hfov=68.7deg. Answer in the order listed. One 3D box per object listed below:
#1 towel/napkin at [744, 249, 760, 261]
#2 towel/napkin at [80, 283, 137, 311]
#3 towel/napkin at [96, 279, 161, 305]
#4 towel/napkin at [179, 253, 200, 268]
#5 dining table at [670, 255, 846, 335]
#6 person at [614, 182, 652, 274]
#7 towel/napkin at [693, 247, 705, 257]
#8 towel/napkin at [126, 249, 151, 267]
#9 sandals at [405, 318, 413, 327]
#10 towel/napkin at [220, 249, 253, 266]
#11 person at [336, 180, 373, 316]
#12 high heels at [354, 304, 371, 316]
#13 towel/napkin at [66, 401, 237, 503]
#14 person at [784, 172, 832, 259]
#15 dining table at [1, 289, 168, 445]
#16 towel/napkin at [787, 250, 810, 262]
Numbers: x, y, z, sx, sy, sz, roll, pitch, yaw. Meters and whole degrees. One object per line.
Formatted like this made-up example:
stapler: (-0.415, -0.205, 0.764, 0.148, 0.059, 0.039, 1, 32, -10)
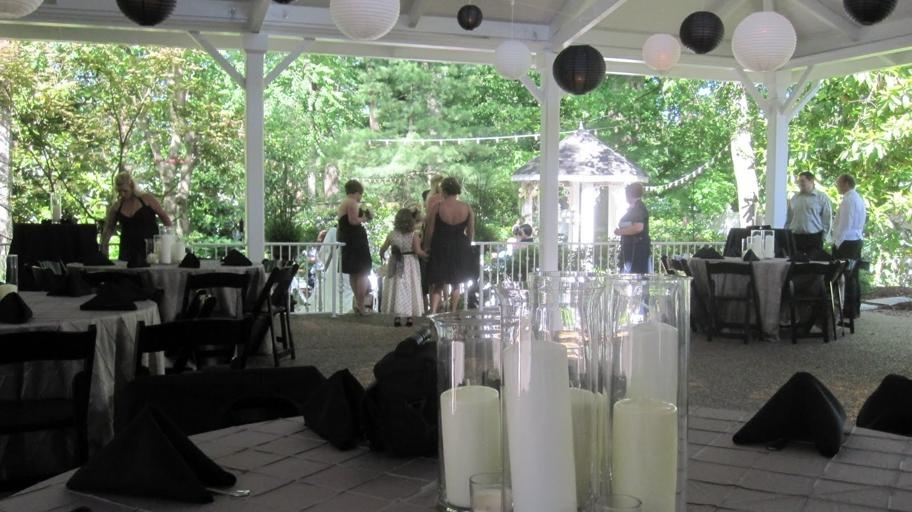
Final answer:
towel/napkin: (3.597, -0.021, 8.113, 0.264, 0.130, 0.128, -2, 2, -29)
towel/napkin: (-2.477, 0.305, 4.796, 0.276, 0.056, 0.208, 10, 32, -7)
towel/napkin: (-2.598, 0.285, 5.262, 0.279, 0.094, 0.286, -1, 3, 3)
towel/napkin: (-2.732, 0.044, 6.836, 0.139, 0.177, 0.208, 5, 5, -12)
dining table: (3.743, 0.517, 8.317, 1.931, 1.024, 1.038, -1, 2, 17)
person: (2.441, -0.411, 9.255, 0.477, 1.248, 0.604, -1, 1, 14)
towel/napkin: (3.409, -0.065, 9.397, 0.115, 0.112, 0.074, 3, 34, 16)
towel/napkin: (-3.357, 0.017, 7.039, 0.174, 0.107, 0.180, 2, 5, 32)
sandals: (-0.663, 0.941, 9.357, 0.081, 0.145, 0.081, 2, 6, 13)
towel/napkin: (-2.322, 0.035, 7.102, 0.174, 0.132, 0.291, -14, -33, 43)
person: (-1.503, -0.131, 9.886, 0.503, 2.003, 0.761, -1, 1, -9)
high heels: (-1.369, 0.794, 10.026, 0.325, 0.224, 0.116, -2, 5, -15)
towel/napkin: (-1.258, 0.802, 2.754, 0.540, 0.246, 0.380, -1, -5, 10)
person: (4.895, -0.623, 9.312, 0.565, 1.236, 1.685, 0, 2, 28)
dining table: (-2.757, 0.830, 4.893, 1.088, 0.804, 1.058, 6, 6, 37)
towel/napkin: (4.259, 0.006, 8.273, 0.239, 0.079, 0.241, 2, 5, 24)
